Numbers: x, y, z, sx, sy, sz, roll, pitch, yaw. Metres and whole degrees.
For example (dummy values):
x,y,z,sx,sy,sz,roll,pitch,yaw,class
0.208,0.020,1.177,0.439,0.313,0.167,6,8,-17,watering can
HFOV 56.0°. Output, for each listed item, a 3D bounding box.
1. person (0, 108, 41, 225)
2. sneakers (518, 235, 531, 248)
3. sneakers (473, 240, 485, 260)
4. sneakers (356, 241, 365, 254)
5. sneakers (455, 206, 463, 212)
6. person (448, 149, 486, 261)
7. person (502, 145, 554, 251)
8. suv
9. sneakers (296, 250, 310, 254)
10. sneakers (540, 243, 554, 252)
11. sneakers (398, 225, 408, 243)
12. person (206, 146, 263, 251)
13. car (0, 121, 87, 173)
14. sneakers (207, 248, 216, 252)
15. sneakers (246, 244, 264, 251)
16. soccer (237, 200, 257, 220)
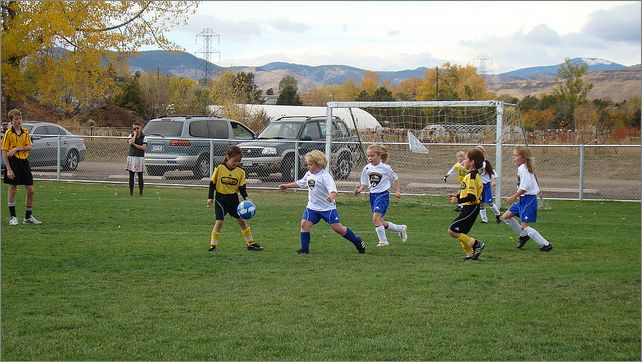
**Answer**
x,y,z,sx,sy,sz,roll,pitch,yaw,class
-7.528,-0.336,14.985,0.797,2.828,1.015,-1,3,-23,person
4.727,1.486,14.130,0.245,0.398,0.141,12,31,-8,sneakers
3.449,1.480,13.277,0.306,0.476,0.181,2,17,-4,sneakers
0.896,1.505,13.547,0.137,0.142,0.335,-10,-38,26,sneakers
4.162,0.847,18.213,0.112,0.109,0.287,11,9,-9,sneakers
3.185,0.522,13.214,0.657,2.436,0.676,2,3,27,person
4.855,0.392,14.240,1.048,2.435,1.034,1,2,17,person
-0.980,-1.298,22.136,4.360,1.667,2.457,0,-1,-39,suv
-0.421,1.580,13.354,0.254,0.088,0.081,-2,0,6,sneakers
5.238,1.538,13.896,0.407,0.170,0.174,-1,2,-30,sneakers
1.994,1.251,14.365,0.186,0.415,0.222,1,20,29,sneakers
-2.030,0.391,13.565,1.018,2.339,0.946,-1,3,-36,person
-10.822,-1.356,25.005,2.118,1.534,4.385,-1,-3,30,car
-2.440,1.531,13.408,0.080,0.078,0.137,6,-27,-39,sneakers
-1.498,1.501,13.534,0.415,0.145,0.134,0,-1,12,sneakers
-1.626,0.649,13.564,0.472,0.368,0.426,-5,3,18,soccer
